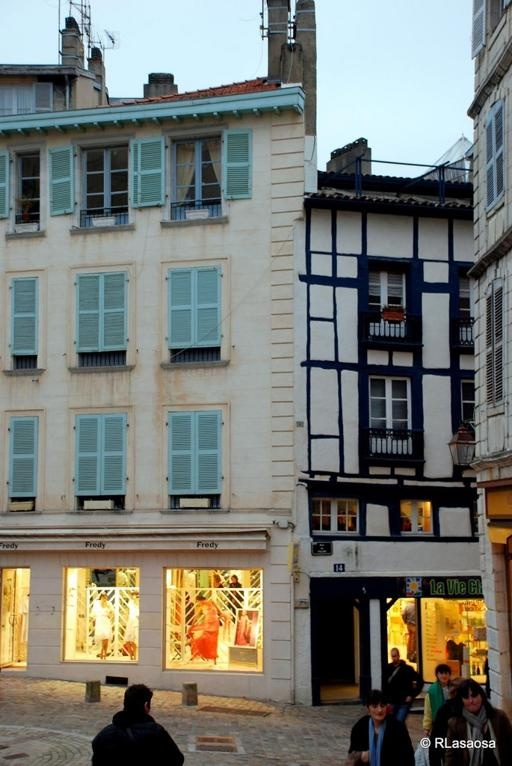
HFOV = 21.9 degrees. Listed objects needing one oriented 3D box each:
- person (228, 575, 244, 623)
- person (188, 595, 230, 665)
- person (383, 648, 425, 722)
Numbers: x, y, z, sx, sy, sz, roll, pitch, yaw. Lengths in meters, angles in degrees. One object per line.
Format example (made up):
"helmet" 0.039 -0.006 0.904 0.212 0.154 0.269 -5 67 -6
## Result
"person" -0.411 4.333 26.582 0.334 0.918 0.123 -8 -13 36
"person" -0.998 4.988 26.791 0.668 1.475 0.425 -4 12 -1
"person" 2.115 4.737 19.662 0.588 1.548 0.413 3 10 27
